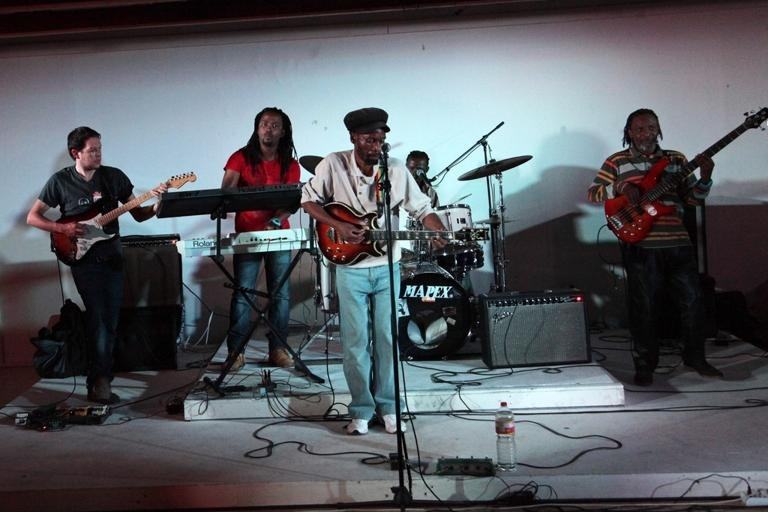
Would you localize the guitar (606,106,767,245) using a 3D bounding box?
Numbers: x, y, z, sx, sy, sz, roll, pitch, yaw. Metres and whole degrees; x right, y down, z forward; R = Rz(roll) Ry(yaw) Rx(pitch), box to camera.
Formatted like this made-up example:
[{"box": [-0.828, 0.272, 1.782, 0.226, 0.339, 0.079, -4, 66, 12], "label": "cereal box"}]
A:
[{"box": [3.122, -0.808, 7.370, 1.686, 0.506, 0.236, -38, 11, 10], "label": "guitar"}]

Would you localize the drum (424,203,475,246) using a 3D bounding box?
[{"box": [0.672, -0.310, 7.379, 0.370, 0.261, 0.368, -11, -7, -1], "label": "drum"}]

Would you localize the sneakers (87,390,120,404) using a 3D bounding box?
[{"box": [-2.516, 1.274, 6.577, 0.287, 0.082, 0.253, -3, 2, -15], "label": "sneakers"}]

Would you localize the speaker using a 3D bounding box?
[{"box": [1.507, 0.703, 6.896, 1.036, 0.704, 0.557, -7, -12, 29], "label": "speaker"}]

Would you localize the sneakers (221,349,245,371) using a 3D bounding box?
[{"box": [-1.389, 0.981, 6.761, 0.168, 0.179, 0.425, -2, -19, -1], "label": "sneakers"}]

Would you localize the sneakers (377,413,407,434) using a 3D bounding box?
[{"box": [0.096, 1.338, 5.869, 0.150, 0.112, 0.285, 3, -10, -25], "label": "sneakers"}]

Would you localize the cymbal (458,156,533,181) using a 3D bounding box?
[{"box": [1.149, -0.890, 7.480, 0.401, 0.184, 0.628, -4, 3, -39], "label": "cymbal"}]

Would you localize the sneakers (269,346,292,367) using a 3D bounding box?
[{"box": [-0.974, 0.992, 7.076, 0.117, 0.132, 0.315, 6, -10, -42], "label": "sneakers"}]

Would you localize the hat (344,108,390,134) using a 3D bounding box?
[{"box": [-0.127, -1.037, 5.742, 0.261, 0.133, 0.224, -5, 9, 28], "label": "hat"}]
